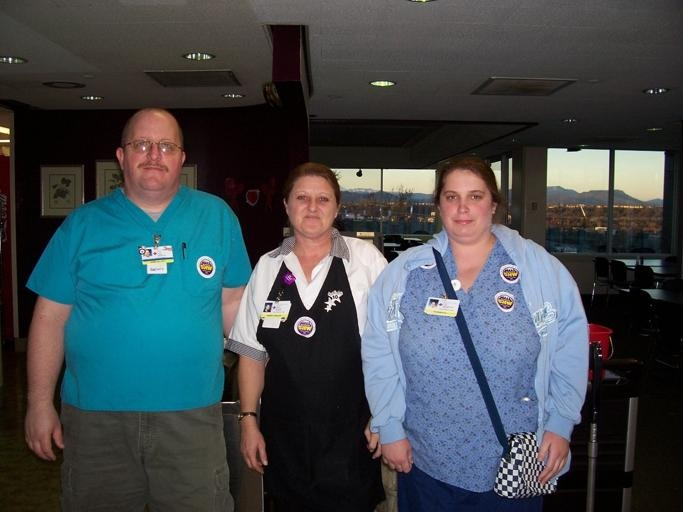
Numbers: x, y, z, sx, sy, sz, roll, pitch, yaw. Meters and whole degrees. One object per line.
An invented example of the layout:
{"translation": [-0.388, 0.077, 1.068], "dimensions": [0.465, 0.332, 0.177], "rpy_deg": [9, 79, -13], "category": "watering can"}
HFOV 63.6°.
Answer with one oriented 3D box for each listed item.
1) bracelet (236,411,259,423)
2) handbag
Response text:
{"translation": [-0.489, 0.818, 2.826], "dimensions": [0.077, 0.045, 0.070], "rpy_deg": [4, -21, 7], "category": "bracelet"}
{"translation": [0.826, 0.933, 2.471], "dimensions": [0.307, 0.282, 0.167], "rpy_deg": [4, -3, -34], "category": "handbag"}
